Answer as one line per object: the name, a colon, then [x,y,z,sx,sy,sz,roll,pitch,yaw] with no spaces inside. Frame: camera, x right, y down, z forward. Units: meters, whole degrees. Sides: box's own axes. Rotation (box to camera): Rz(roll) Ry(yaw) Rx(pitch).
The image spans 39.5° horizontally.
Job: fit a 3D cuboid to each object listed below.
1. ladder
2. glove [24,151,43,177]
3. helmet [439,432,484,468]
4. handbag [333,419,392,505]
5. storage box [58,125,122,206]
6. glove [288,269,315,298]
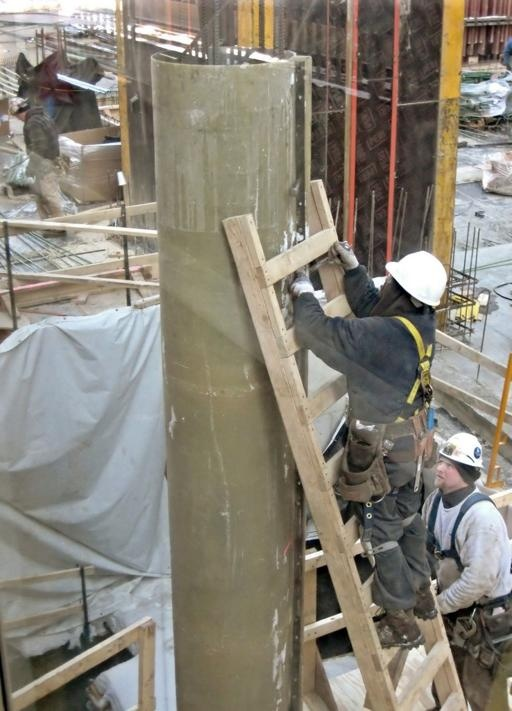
ladder: [0.477,0.769,3.054,0.892,2.929,1.175,6,19,20]
glove: [-1.385,-1.187,4.467,0.095,0.191,0.098,6,5,26]
helmet: [1.216,0.573,4.276,0.190,0.154,0.246,28,9,-26]
handbag: [0.425,0.396,2.895,0.238,0.353,0.176,2,28,-21]
storage box: [-1.319,-1.431,5.583,0.362,0.559,0.393,-1,2,27]
glove: [0.159,-0.259,2.591,0.047,0.042,0.132,32,23,-12]
